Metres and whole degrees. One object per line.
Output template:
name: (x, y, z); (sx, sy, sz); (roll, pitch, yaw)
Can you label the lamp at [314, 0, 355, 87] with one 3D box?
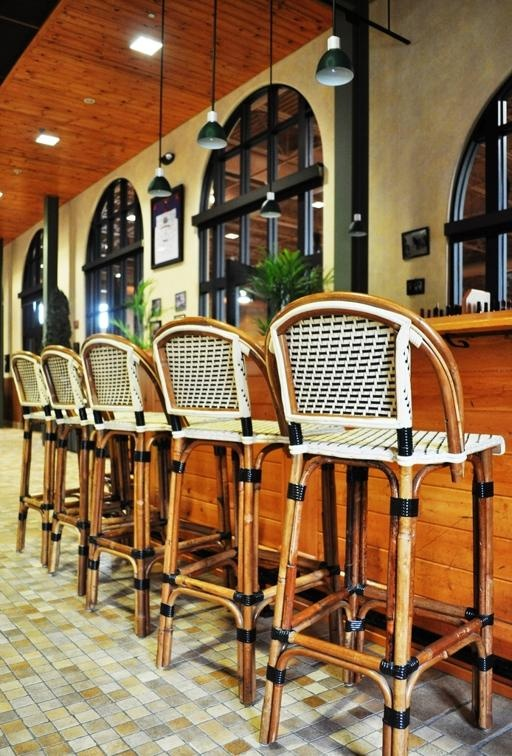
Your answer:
lamp: (0.370, -1.537, 3.219); (0.167, 0.217, 0.317); (0, 0, 8)
